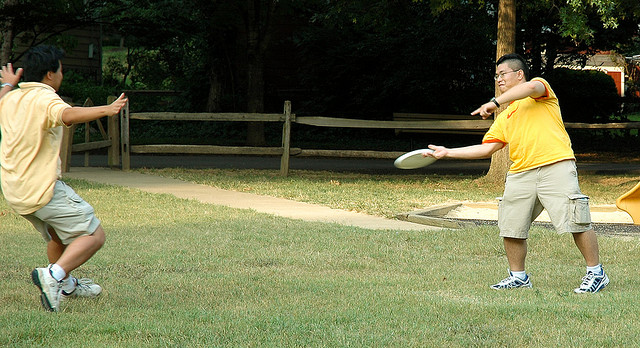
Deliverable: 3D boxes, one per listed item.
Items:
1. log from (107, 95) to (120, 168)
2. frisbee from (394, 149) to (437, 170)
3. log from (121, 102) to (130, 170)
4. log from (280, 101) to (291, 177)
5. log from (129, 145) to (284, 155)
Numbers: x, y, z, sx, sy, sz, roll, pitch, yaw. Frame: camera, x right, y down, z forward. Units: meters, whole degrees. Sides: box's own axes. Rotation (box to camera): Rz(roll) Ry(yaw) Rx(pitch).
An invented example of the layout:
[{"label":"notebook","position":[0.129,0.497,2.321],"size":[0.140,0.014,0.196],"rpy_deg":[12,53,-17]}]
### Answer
[{"label":"log","position":[-6.498,-1.078,27.125],"size":[0.344,1.637,0.857],"rpy_deg":[1,6,-14]},{"label":"frisbee","position":[1.895,-0.370,17.294],"size":[0.566,0.093,0.543],"rpy_deg":[-13,-21,28]},{"label":"log","position":[-5.928,-1.139,26.208],"size":[0.260,1.933,0.406],"rpy_deg":[1,6,-12]},{"label":"log","position":[-1.054,-1.083,26.003],"size":[0.268,2.199,0.779],"rpy_deg":[2,6,-3]},{"label":"log","position":[-3.419,-0.755,26.124],"size":[4.557,0.245,0.617],"rpy_deg":[2,5,-1]}]
